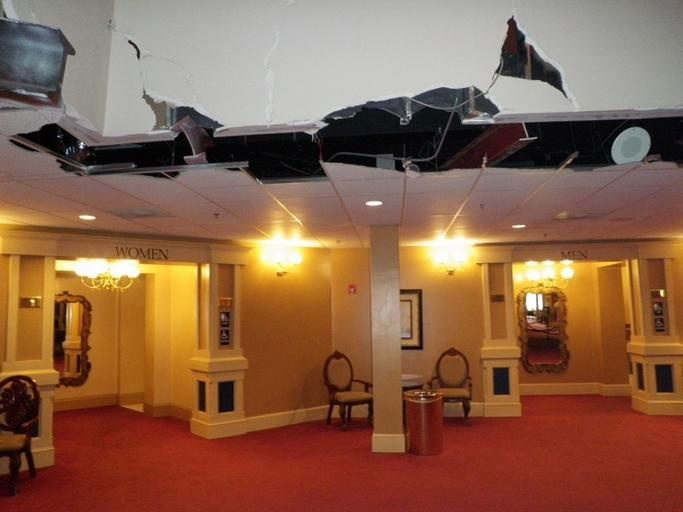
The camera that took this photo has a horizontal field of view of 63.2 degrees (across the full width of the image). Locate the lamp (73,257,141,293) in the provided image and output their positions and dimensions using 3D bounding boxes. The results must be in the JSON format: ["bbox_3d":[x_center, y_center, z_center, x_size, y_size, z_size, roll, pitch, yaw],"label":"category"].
[{"bbox_3d":[-4.138,0.317,10.027,1.052,0.504,1.049,1,-13,-10],"label":"lamp"}]

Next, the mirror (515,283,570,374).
[{"bbox_3d":[4.172,1.501,11.510,0.992,1.751,0.270,-1,-2,5],"label":"mirror"}]

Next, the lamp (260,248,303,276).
[{"bbox_3d":[-1.013,0.104,9.508,0.749,0.480,0.131,0,-2,-38],"label":"lamp"}]

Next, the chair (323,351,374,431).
[{"bbox_3d":[0.092,2.233,9.464,0.821,1.174,1.286,-1,-2,-1],"label":"chair"}]

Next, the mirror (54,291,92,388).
[{"bbox_3d":[-5.159,1.590,10.731,0.618,1.846,0.201,0,-2,-31],"label":"mirror"}]

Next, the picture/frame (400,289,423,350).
[{"bbox_3d":[1.267,1.129,9.958,0.395,1.079,0.139,-1,-2,7],"label":"picture/frame"}]
